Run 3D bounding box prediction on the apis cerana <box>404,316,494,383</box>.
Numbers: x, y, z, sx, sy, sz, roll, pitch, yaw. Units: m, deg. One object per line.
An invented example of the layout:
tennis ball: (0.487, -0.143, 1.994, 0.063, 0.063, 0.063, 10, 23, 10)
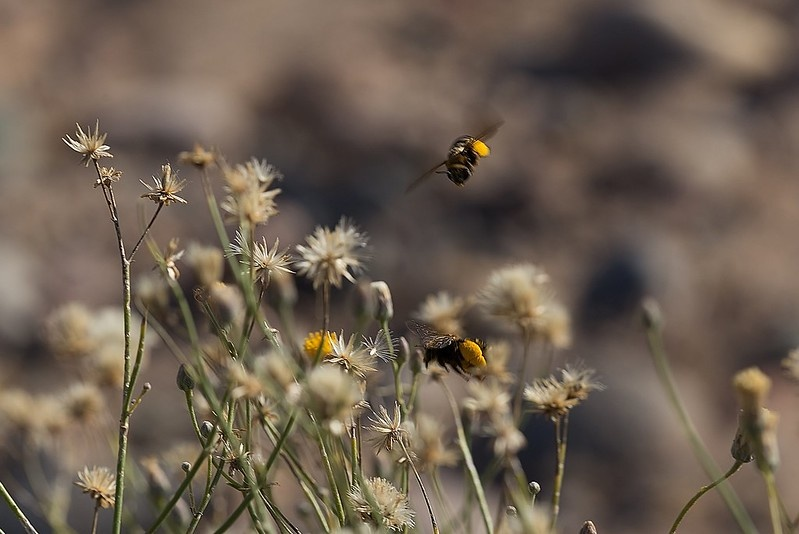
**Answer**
apis cerana: (0.110, 0.173, 2.629, 0.155, 0.192, 0.076, -11, -68, -38)
